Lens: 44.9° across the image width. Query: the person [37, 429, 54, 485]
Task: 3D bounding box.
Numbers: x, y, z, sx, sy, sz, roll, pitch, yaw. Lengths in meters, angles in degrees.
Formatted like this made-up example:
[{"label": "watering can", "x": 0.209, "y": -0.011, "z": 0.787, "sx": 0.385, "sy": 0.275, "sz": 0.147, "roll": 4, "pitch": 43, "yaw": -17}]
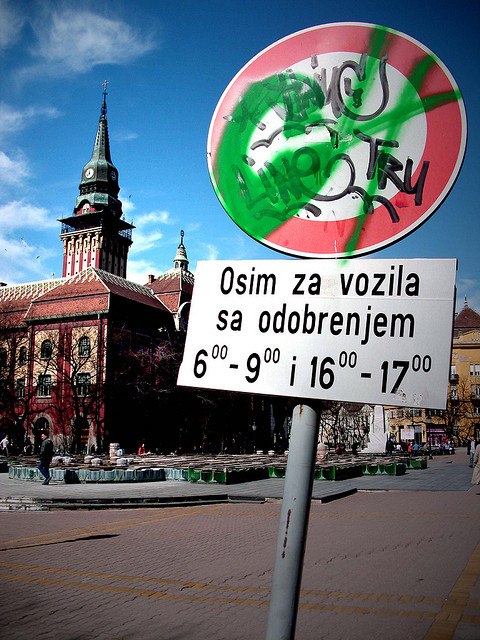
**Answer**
[{"label": "person", "x": -6.899, "y": 5.009, "z": 20.778, "sx": 0.450, "sy": 1.531, "sz": 2.601, "roll": 0, "pitch": -11, "yaw": -19}]
